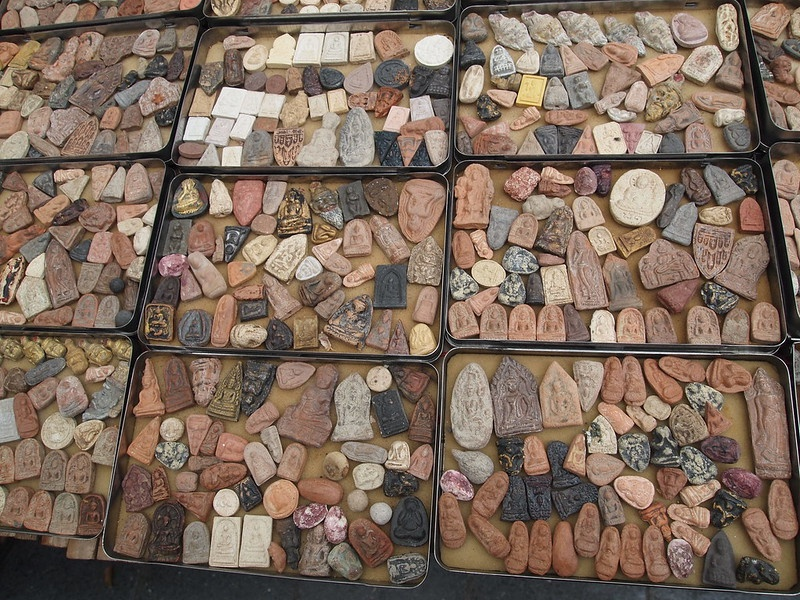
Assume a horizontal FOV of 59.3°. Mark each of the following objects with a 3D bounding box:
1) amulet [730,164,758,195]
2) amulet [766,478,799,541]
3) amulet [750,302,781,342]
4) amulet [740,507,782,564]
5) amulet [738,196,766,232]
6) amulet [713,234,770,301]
[{"bbox_3d":[1.789,-0.631,3.627,0.100,0.038,0.162,-28,73,10],"label":"amulet"},{"bbox_3d":[1.789,0.972,3.242,0.116,0.047,0.245,1,75,5],"label":"amulet"},{"bbox_3d":[1.799,0.116,3.429,0.111,0.049,0.190,2,69,8],"label":"amulet"},{"bbox_3d":[1.688,1.075,3.268,0.123,0.066,0.255,-28,80,3],"label":"amulet"},{"bbox_3d":[1.799,-0.429,3.587,0.119,0.046,0.181,-1,68,4],"label":"amulet"},{"bbox_3d":[1.722,-0.148,3.514,0.194,0.035,0.346,25,72,13],"label":"amulet"}]
